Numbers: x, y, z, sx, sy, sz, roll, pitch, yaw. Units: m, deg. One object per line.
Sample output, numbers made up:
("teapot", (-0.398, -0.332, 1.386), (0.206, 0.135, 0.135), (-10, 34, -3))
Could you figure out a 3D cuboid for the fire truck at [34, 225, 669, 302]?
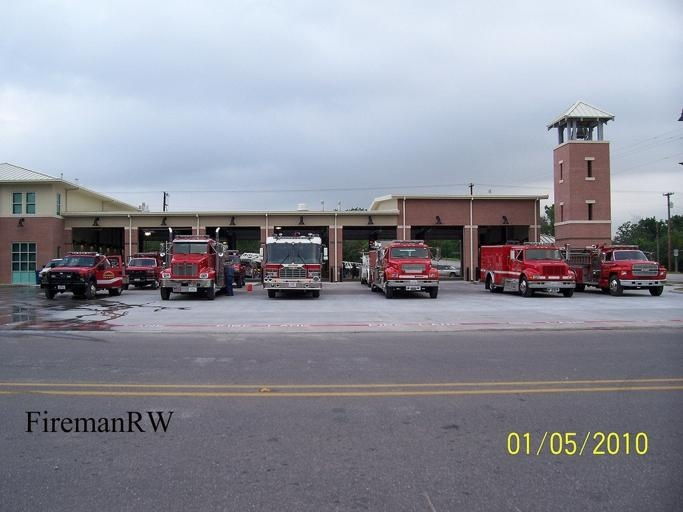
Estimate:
("fire truck", (-0.155, 0.313, 35.535), (31.116, 3.831, 4.175), (0, 1, -3))
